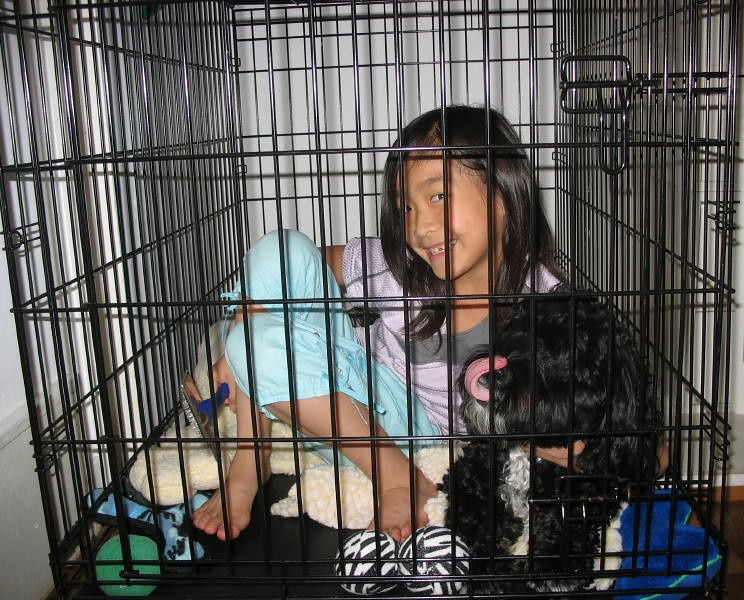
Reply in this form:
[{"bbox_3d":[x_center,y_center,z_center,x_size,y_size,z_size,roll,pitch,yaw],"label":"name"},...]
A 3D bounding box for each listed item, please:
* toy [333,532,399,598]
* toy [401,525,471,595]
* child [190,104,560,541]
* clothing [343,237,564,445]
[{"bbox_3d":[-0.014,0.520,1.456,0.141,0.141,0.117,-1,-8,-9],"label":"toy"},{"bbox_3d":[0.130,0.531,1.452,0.115,0.140,0.160,-6,-6,2],"label":"toy"},{"bbox_3d":[0.058,0.038,1.915,0.906,1.270,0.901,3,15,-9],"label":"child"},{"bbox_3d":[0.182,0.093,1.989,0.684,0.751,0.428,0,-7,-4],"label":"clothing"}]
